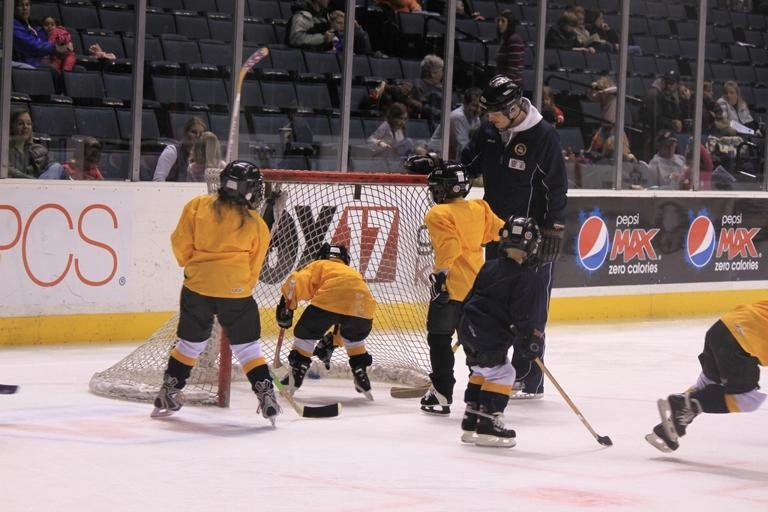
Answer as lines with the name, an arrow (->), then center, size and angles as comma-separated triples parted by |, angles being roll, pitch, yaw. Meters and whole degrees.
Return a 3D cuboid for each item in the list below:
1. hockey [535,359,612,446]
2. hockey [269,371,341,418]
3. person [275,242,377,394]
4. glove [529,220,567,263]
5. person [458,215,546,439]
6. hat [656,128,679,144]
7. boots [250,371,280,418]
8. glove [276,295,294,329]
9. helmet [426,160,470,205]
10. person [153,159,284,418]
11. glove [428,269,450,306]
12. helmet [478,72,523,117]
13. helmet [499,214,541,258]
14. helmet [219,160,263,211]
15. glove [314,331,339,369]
hockey -> 1.347, 1.068, 7.219 | 0.076, 0.628, 0.090 | -34, 11, -6
hockey -> -0.519, 0.970, 6.892 | 0.364, 0.081, 0.325 | 5, 43, -28
person -> -0.448, 0.486, 7.504 | 0.706, 0.670, 1.090 | 14, 42, -10
glove -> 1.125, -0.124, 6.876 | 0.248, 0.207, 0.310 | 3, -25, -5
person -> 0.736, 0.477, 6.420 | 0.529, 1.421, 0.414 | 3, 11, 4
hat -> 3.031, -1.292, 10.906 | 0.203, 0.136, 0.317 | -7, 2, -13
boots -> -0.779, 0.936, 6.709 | 0.189, 0.361, 0.293 | 1, 10, -6
glove -> -0.695, 0.392, 7.045 | 0.117, 0.201, 0.066 | 2, -16, -5
helmet -> 0.435, -0.533, 7.060 | 0.276, 0.288, 0.305 | -7, 20, -23
person -> -1.087, 0.241, 6.690 | 0.866, 1.709, 0.508 | 2, 11, 0
glove -> 0.386, 0.218, 6.995 | 0.158, 0.206, 0.094 | -18, 16, 8
helmet -> 0.805, -1.110, 7.028 | 0.294, 0.222, 0.198 | -38, -14, -12
helmet -> 0.865, -0.137, 6.373 | 0.225, 0.234, 0.258 | 8, 15, 19
helmet -> -0.904, -0.496, 6.781 | 0.285, 0.285, 0.316 | 17, 18, 13
glove -> -0.430, 0.692, 7.509 | 0.122, 0.163, 0.394 | -4, 12, 15
